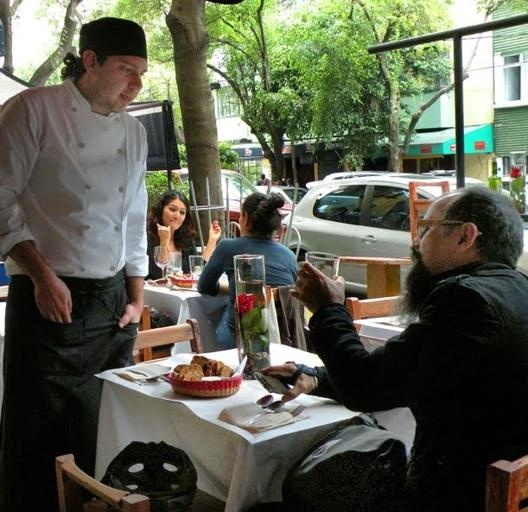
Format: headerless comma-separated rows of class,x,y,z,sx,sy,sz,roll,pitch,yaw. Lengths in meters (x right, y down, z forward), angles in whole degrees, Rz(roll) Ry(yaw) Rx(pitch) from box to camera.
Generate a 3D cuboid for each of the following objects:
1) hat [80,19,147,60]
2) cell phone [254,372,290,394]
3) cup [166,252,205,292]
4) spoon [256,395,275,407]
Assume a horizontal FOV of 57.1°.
hat,-0.600,-0.828,1.945,0.213,0.131,0.210,-4,8,-38
cell phone,0.027,0.427,1.617,0.073,0.019,0.074,30,2,21
cup,-0.696,0.162,4.544,0.336,0.364,0.302,1,2,13
spoon,0.008,0.445,1.486,0.031,0.012,0.031,-24,1,-2
